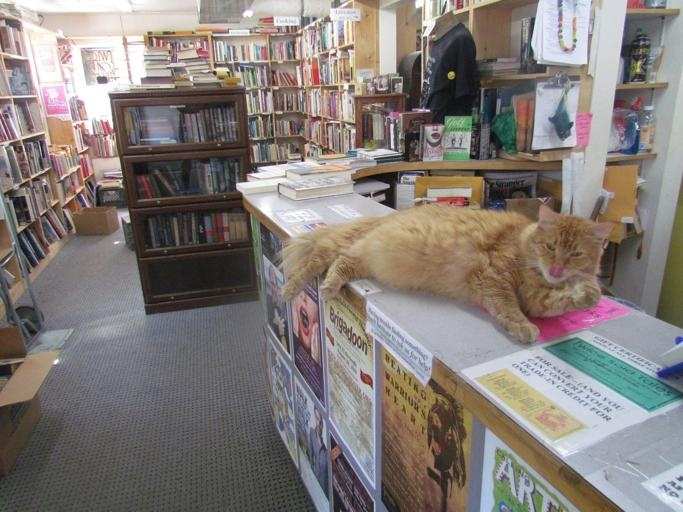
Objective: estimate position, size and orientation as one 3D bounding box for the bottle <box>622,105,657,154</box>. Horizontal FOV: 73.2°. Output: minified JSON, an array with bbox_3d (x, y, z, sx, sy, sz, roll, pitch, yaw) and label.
[{"bbox_3d":[1.929,-0.826,2.998,0.193,0.284,0.136,5,21,20],"label":"bottle"}]

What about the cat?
[{"bbox_3d":[0.238,-0.052,1.241,0.773,0.282,0.426,5,17,19],"label":"cat"}]
